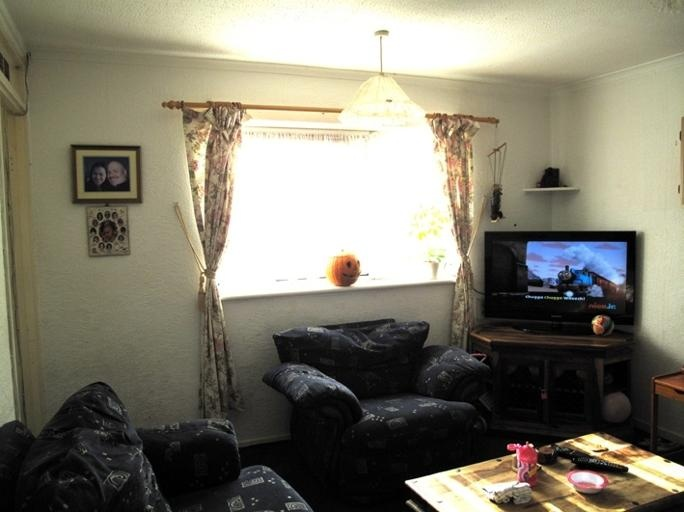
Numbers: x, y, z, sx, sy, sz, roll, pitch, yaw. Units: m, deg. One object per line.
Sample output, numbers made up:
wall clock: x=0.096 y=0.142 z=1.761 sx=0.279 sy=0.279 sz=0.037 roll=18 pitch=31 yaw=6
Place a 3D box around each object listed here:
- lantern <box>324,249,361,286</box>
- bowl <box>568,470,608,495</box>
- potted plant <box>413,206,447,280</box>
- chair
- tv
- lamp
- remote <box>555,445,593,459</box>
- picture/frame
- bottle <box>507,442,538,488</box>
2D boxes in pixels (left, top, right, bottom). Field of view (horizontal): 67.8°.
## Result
lantern: x=0.006 y=0.096 z=4.185 sx=0.286 sy=0.269 sz=0.280 roll=-6 pitch=-7 yaw=34
bowl: x=1.305 y=1.189 z=2.687 sx=0.195 sy=0.056 sz=0.199 roll=0 pitch=4 yaw=0
potted plant: x=0.798 y=-0.124 z=4.578 sx=0.299 sy=0.638 sz=0.270 roll=0 pitch=5 yaw=11
chair: x=0.174 y=1.056 z=3.708 sx=1.514 sy=0.876 sz=1.111 roll=-1 pitch=-5 yaw=-26
tv: x=1.905 y=0.222 z=4.321 sx=0.964 sy=0.621 sz=0.242 roll=1 pitch=-1 yaw=14
lamp: x=0.258 y=-1.192 z=3.351 sx=0.618 sy=0.548 sz=0.588 roll=-2 pitch=18 yaw=-5
remote: x=1.336 y=1.103 z=2.895 sx=0.175 sy=0.036 sz=0.087 roll=2 pitch=1 yaw=45
picture/frame: x=-1.720 y=-0.591 z=3.641 sx=0.486 sy=0.414 sz=0.036 roll=0 pitch=-2 yaw=-20
bottle: x=1.020 y=1.106 z=2.742 sx=0.234 sy=0.196 sz=0.133 roll=-3 pitch=5 yaw=-22
